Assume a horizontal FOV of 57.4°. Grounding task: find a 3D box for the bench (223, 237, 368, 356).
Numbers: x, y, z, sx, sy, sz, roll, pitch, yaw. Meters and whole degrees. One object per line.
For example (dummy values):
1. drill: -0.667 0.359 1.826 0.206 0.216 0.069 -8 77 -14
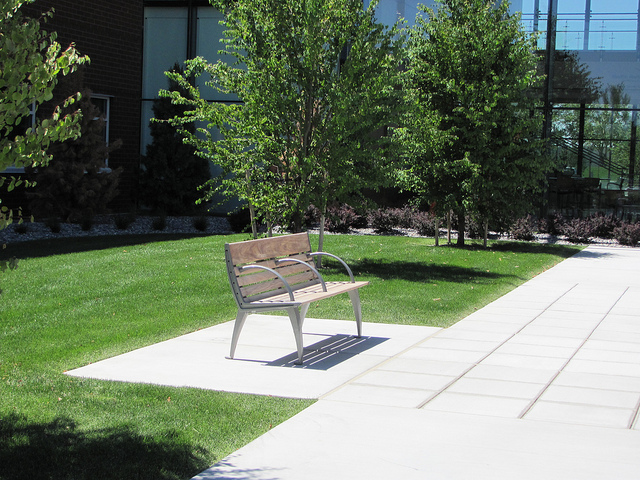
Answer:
1. bench: -0.240 0.705 7.313 0.965 1.367 2.271 0 2 23
